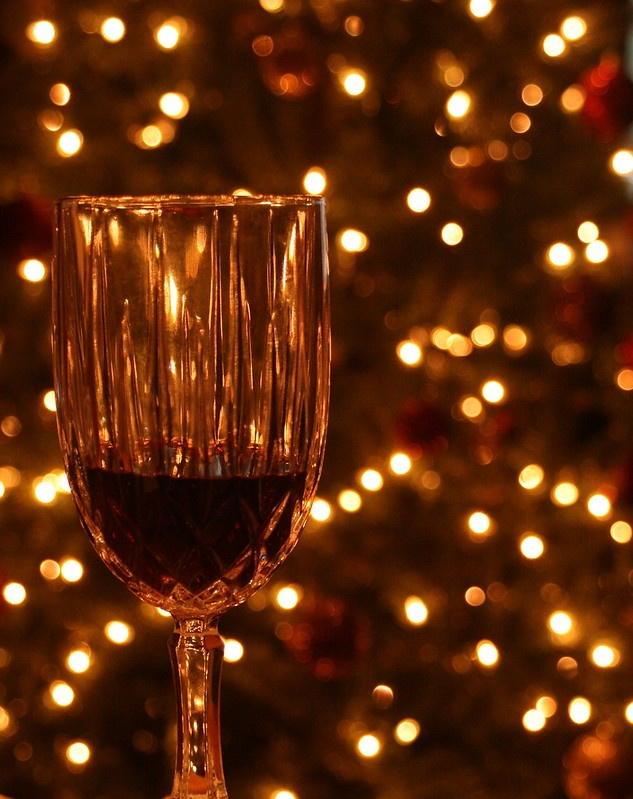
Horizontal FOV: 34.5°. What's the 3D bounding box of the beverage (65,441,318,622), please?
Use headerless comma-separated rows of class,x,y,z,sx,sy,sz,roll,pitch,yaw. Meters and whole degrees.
beverage,-0.047,0.060,0.440,0.111,0.062,0.101,-1,-7,8
